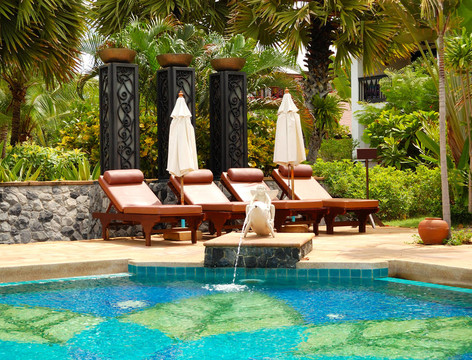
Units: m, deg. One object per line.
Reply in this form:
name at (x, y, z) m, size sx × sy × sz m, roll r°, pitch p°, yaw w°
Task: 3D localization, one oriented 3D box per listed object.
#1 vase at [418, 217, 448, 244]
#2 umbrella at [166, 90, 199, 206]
vase at (3.436, 0.911, 8.037) m, size 0.457 × 0.429 × 0.439 m, roll 0°, pitch -12°, yaw 7°
umbrella at (-1.097, -0.630, 9.226) m, size 0.589 × 2.285 × 0.675 m, roll -2°, pitch 8°, yaw -8°
